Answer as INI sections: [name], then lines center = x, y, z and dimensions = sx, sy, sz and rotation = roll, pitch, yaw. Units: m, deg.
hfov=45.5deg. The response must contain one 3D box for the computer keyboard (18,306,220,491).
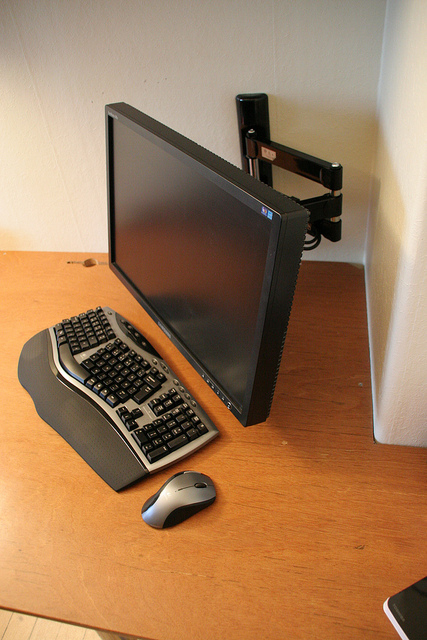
[computer keyboard]
center = -0.183, 0.114, 0.831
dimensions = 0.207, 0.060, 0.376
rotation = -14, 39, -36

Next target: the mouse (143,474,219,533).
[mouse]
center = -0.041, 0.232, 0.641
dimensions = 0.085, 0.027, 0.055
rotation = -24, 53, -19

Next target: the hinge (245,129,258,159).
[hinge]
center = 0.073, -0.333, 0.956
dimensions = 0.027, 0.051, 0.036
rotation = 0, 48, 2

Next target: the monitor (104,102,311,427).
[monitor]
center = -0.044, -0.108, 0.763
dimensions = 0.044, 0.318, 0.443
rotation = -19, 43, -29
